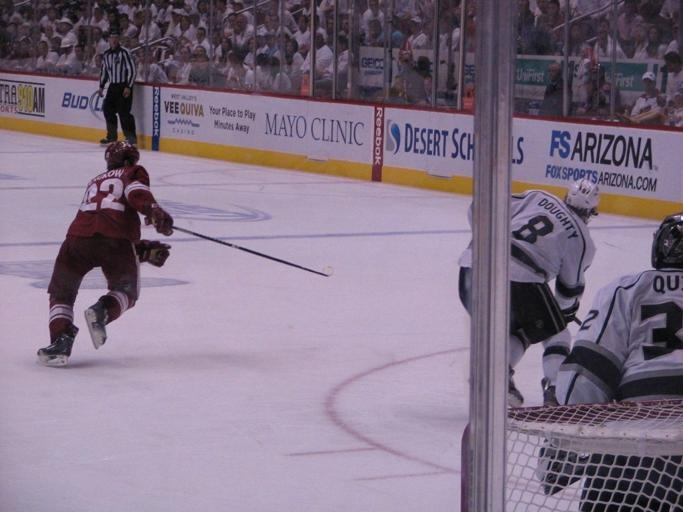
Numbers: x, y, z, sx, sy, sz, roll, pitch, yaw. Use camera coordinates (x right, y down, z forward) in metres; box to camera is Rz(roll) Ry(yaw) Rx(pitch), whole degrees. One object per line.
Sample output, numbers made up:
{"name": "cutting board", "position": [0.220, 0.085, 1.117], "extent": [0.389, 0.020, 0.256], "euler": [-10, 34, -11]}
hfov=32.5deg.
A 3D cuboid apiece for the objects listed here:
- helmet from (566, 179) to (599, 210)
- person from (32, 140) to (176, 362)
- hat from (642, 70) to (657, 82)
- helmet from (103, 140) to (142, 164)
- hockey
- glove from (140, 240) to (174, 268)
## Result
{"name": "helmet", "position": [1.262, -0.319, 6.162], "extent": [0.133, 0.164, 0.168], "euler": [12, 22, 22]}
{"name": "person", "position": [-1.320, -0.012, 6.412], "extent": [0.853, 1.127, 0.611], "euler": [-9, 17, -32]}
{"name": "hat", "position": [2.827, -1.656, 10.787], "extent": [0.037, 0.087, 0.135], "euler": [-13, 19, -41]}
{"name": "helmet", "position": [-1.222, -0.561, 6.646], "extent": [0.182, 0.186, 0.153], "euler": [-13, 22, -23]}
{"name": "hockey", "position": [-0.663, -0.019, 8.685], "extent": [0.899, 0.066, 0.024], "euler": [24, -31, -16]}
{"name": "glove", "position": [-1.058, -0.025, 6.648], "extent": [0.176, 0.137, 0.076], "euler": [6, 4, -31]}
